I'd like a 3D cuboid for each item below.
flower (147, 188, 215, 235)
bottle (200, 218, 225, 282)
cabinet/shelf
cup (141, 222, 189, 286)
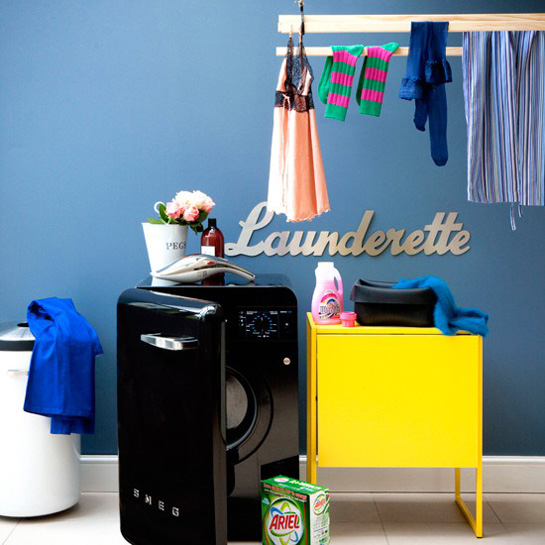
[{"bbox_3d":[-0.406,-0.306,3.243,0.197,0.179,0.218,3,9,26],"label":"flower"},{"bbox_3d":[-0.267,-0.101,3.181,0.100,0.264,0.358,-1,9,-5],"label":"bottle"},{"bbox_3d":[0.537,0.554,3.380,0.863,1.407,0.689,0,-1,0],"label":"cabinet/shelf"},{"bbox_3d":[-0.477,-0.067,3.223,0.213,0.332,0.234,2,-1,4],"label":"cup"}]
